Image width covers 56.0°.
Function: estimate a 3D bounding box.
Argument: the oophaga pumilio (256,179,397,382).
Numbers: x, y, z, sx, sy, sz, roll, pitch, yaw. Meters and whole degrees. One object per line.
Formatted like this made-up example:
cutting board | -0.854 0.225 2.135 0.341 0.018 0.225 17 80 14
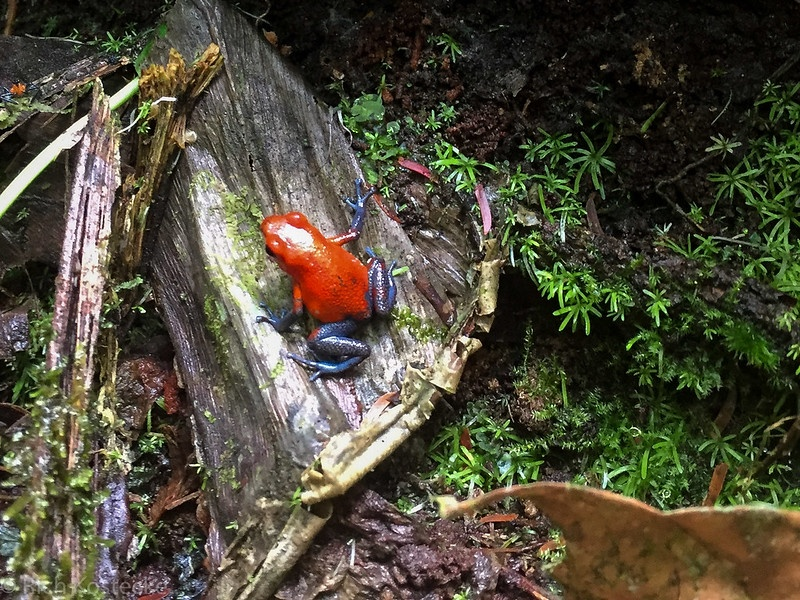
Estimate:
oophaga pumilio | -0.313 -0.071 3.310 0.702 0.507 0.527 -25 49 -11
